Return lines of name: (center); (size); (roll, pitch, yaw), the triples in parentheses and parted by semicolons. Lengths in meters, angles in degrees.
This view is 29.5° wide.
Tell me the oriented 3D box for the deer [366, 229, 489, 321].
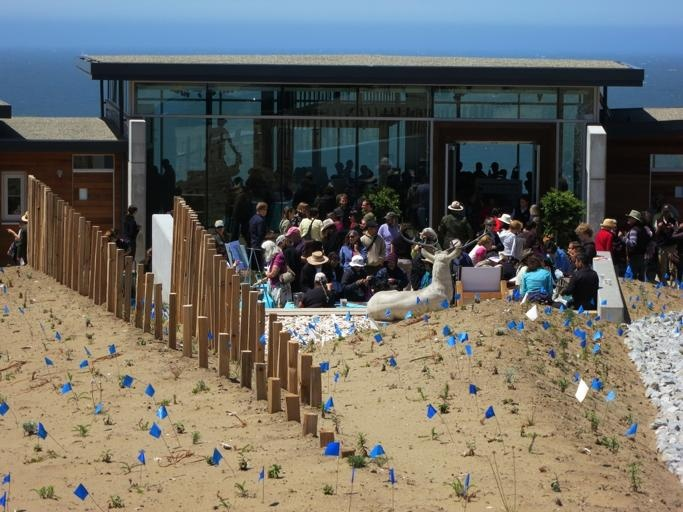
deer: (1.246, 0.400, 21.380); (1.630, 1.464, 0.811); (-4, 1, -6)
